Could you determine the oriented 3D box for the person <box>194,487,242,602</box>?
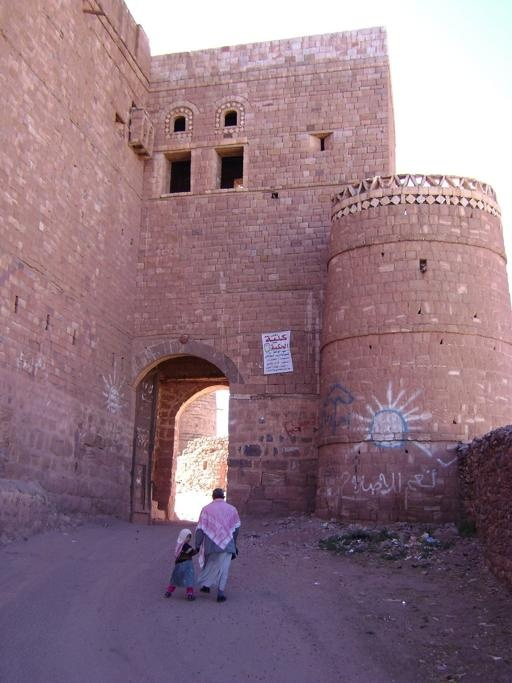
[{"bbox_3d":[-0.356,1.918,4.584,0.386,0.995,0.338,2,-8,-8],"label":"person"}]
